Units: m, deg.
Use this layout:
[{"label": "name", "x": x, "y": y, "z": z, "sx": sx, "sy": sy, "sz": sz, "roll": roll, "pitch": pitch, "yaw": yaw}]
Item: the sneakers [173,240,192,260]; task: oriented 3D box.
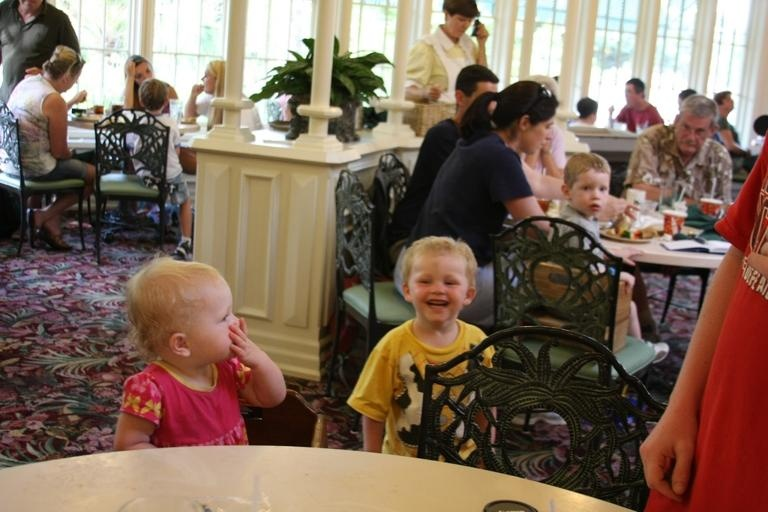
[{"label": "sneakers", "x": -1.689, "y": -0.050, "z": 5.229, "sx": 0.174, "sy": 0.165, "sz": 0.133, "roll": -9, "pitch": -4, "yaw": 43}]

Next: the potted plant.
[{"label": "potted plant", "x": -0.380, "y": -1.002, "z": 3.943, "sx": 0.722, "sy": 0.477, "sz": 0.710, "roll": 1, "pitch": 11, "yaw": -10}]

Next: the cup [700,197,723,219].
[{"label": "cup", "x": 1.944, "y": -0.289, "z": 3.715, "sx": 0.125, "sy": 0.091, "sz": 0.123, "roll": 1, "pitch": 20, "yaw": 0}]

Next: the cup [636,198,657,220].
[{"label": "cup", "x": 1.529, "y": -0.275, "z": 3.639, "sx": 0.138, "sy": 0.112, "sz": 0.127, "roll": -1, "pitch": 10, "yaw": 0}]

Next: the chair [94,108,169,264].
[{"label": "chair", "x": -2.144, "y": -0.636, "z": 5.263, "sx": 0.643, "sy": 1.156, "sz": 0.980, "roll": -7, "pitch": 15, "yaw": -24}]

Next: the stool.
[{"label": "stool", "x": 1.968, "y": 0.283, "z": 4.206, "sx": 0.346, "sy": 0.387, "sz": 0.359, "roll": -3, "pitch": 15, "yaw": -11}]

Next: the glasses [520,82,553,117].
[{"label": "glasses", "x": 0.714, "y": -0.728, "z": 2.917, "sx": 0.062, "sy": 0.147, "sz": 0.109, "roll": 50, "pitch": 5, "yaw": 23}]
